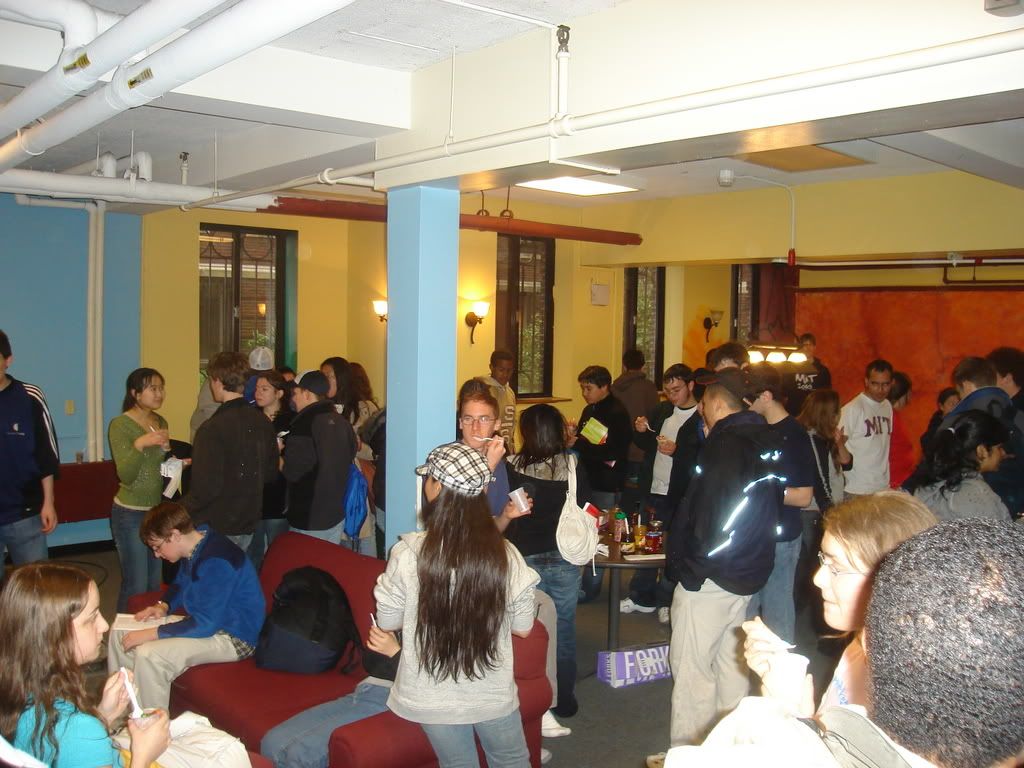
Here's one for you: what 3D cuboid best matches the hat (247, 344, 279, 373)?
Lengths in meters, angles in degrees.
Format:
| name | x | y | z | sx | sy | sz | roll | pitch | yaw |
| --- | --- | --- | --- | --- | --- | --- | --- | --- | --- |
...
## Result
| name | x | y | z | sx | sy | sz | roll | pitch | yaw |
| --- | --- | --- | --- | --- | --- | --- | --- | --- | --- |
| hat | -2.712 | -0.276 | 8.801 | 0.364 | 0.267 | 0.372 | 4 | 5 | 21 |

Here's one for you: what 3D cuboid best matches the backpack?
| name | x | y | z | sx | sy | sz | roll | pitch | yaw |
| --- | --- | --- | --- | --- | --- | --- | --- | --- | --- |
| backpack | -1.005 | 1.303 | 4.447 | 0.596 | 0.591 | 0.415 | -1 | -14 | 4 |

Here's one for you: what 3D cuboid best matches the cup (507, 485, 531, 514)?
| name | x | y | z | sx | sy | sz | roll | pitch | yaw |
| --- | --- | --- | --- | --- | --- | --- | --- | --- | --- |
| cup | 0.032 | 0.595 | 4.185 | 0.104 | 0.140 | 0.177 | 1 | 4 | -3 |

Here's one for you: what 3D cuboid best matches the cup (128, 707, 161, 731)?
| name | x | y | z | sx | sy | sz | roll | pitch | yaw |
| --- | --- | --- | --- | --- | --- | --- | --- | --- | --- |
| cup | -1.219 | 1.105 | 2.708 | 0.085 | 0.061 | 0.057 | -1 | 3 | -9 |

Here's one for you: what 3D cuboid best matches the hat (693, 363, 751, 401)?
| name | x | y | z | sx | sy | sz | roll | pitch | yaw |
| --- | --- | --- | --- | --- | --- | --- | --- | --- | --- |
| hat | 1.196 | -0.007 | 4.647 | 0.270 | 0.142 | 0.182 | 31 | 15 | 14 |

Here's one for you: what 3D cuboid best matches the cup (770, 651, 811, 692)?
| name | x | y | z | sx | sy | sz | roll | pitch | yaw |
| --- | --- | --- | --- | --- | --- | --- | --- | --- | --- |
| cup | 0.751 | 0.765 | 2.212 | 0.106 | 0.084 | 0.104 | -1 | -2 | 0 |

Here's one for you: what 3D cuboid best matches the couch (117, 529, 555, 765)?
| name | x | y | z | sx | sy | sz | roll | pitch | yaw |
| --- | --- | --- | --- | --- | --- | --- | --- | --- | --- |
| couch | -0.798 | 1.230 | 3.727 | 0.642 | 0.575 | 1.333 | 16 | -8 | -40 |

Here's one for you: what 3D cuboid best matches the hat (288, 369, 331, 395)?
| name | x | y | z | sx | sy | sz | roll | pitch | yaw |
| --- | --- | --- | --- | --- | --- | --- | --- | --- | --- |
| hat | -1.414 | -0.030 | 5.676 | 0.198 | 0.116 | 0.146 | 23 | 12 | 19 |

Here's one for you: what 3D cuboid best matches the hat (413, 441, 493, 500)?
| name | x | y | z | sx | sy | sz | roll | pitch | yaw |
| --- | --- | --- | --- | --- | --- | --- | --- | --- | --- |
| hat | -0.222 | 0.326 | 3.158 | 0.197 | 0.185 | 0.237 | -2 | 5 | -41 |
